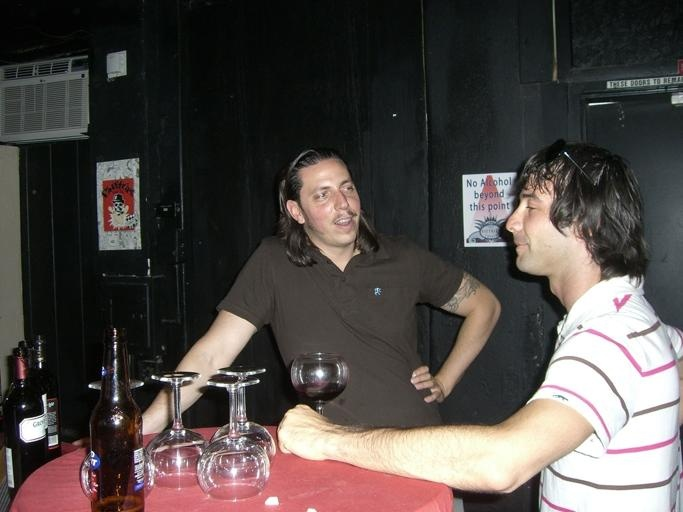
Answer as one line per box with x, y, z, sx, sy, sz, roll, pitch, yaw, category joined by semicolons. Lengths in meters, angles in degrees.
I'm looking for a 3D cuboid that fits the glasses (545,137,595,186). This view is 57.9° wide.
0.826;-0.309;2.232;0.163;0.056;0.157;35;3;-19;glasses
